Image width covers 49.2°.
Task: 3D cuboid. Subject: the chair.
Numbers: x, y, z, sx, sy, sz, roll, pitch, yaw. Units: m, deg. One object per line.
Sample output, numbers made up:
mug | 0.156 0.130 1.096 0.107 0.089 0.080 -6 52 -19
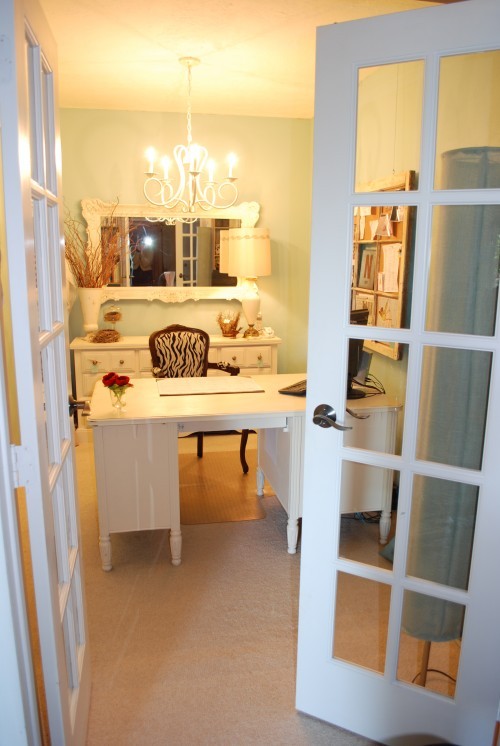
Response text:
chair | -0.404 0.192 3.864 0.608 1.007 0.710 -6 9 -33

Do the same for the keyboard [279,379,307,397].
keyboard | 0.239 0.089 3.069 0.164 0.021 0.227 -12 8 25

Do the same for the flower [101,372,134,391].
flower | -0.642 0.062 2.643 0.113 0.085 0.122 4 19 -4

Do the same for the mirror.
mirror | -0.662 -1.109 4.898 1.670 0.878 0.382 -2 9 -10

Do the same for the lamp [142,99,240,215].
lamp | -0.506 -1.867 4.576 0.689 1.048 0.757 1 2 -3
